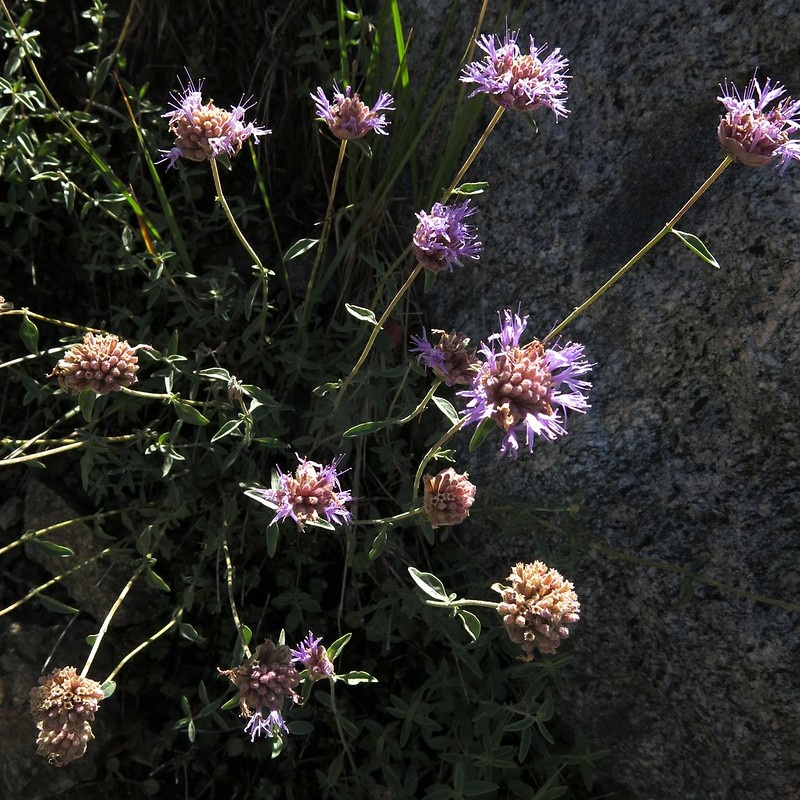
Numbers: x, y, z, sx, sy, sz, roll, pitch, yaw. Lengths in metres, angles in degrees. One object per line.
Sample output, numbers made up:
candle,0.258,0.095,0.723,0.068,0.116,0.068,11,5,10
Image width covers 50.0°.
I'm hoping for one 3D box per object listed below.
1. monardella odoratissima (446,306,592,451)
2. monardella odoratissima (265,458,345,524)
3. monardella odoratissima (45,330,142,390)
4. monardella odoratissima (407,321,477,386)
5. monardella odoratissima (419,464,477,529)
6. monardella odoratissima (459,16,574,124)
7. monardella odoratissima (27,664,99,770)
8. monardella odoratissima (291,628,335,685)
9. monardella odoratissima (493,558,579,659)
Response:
monardella odoratissima,0.326,-0.053,2.323,0.449,0.402,0.236,16,78,-1
monardella odoratissima,-0.274,0.247,2.435,0.145,0.152,0.063,-19,81,-21
monardella odoratissima,-0.897,-0.122,2.567,0.198,0.200,0.116,12,84,14
monardella odoratissima,0.139,-0.135,2.644,0.228,0.203,0.115,-10,87,-8
monardella odoratissima,0.113,0.294,2.499,0.168,0.075,0.160,-2,56,-41
monardella odoratissima,0.317,-0.903,2.444,0.284,0.147,0.282,-42,59,-19
monardella odoratissima,-0.960,0.893,2.508,0.222,0.166,0.278,12,77,-1
monardella odoratissima,-0.258,0.741,2.479,0.088,0.102,0.106,20,72,21
monardella odoratissima,0.374,0.603,2.406,0.226,0.240,0.227,-13,103,-46
